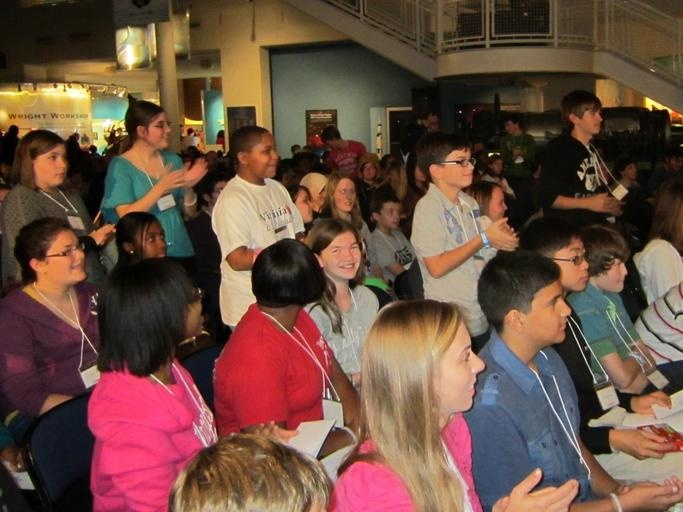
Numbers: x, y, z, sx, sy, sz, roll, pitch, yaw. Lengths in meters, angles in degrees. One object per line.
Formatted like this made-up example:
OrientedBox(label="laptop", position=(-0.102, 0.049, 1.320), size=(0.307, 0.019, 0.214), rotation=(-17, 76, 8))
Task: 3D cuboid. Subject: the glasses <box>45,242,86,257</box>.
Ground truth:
OrientedBox(label="glasses", position=(-1.463, -0.037, 2.772), size=(0.074, 0.069, 0.205), rotation=(5, 10, 31))
